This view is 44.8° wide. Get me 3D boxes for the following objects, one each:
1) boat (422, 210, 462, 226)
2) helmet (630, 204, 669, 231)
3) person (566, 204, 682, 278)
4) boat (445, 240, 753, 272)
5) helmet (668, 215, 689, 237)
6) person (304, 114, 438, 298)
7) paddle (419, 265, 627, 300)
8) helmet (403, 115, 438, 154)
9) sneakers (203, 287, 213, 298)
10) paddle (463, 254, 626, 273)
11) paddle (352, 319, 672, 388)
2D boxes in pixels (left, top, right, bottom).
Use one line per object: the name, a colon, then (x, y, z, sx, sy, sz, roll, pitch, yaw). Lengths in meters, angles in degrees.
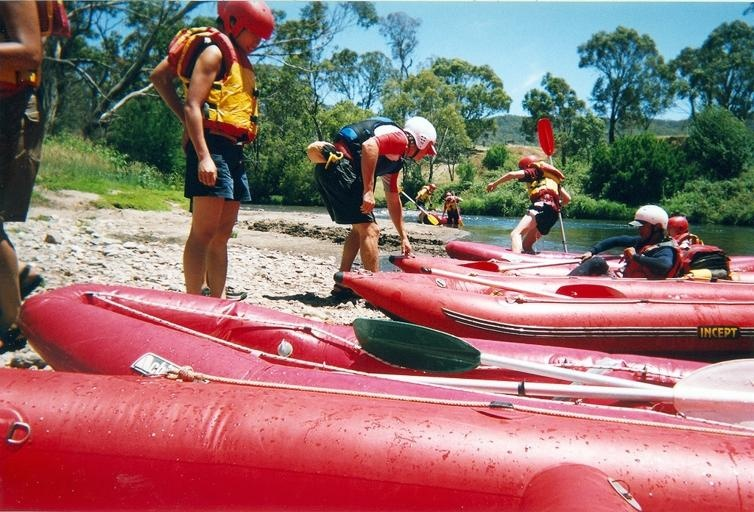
boat: (1.530, -0.875, 21.547, 1.012, 0.303, 0.544, 12, 7, -38)
helmet: (3.465, -0.492, 11.631, 0.449, 0.223, 0.318, 1, 1, 7)
person: (3.046, -0.058, 11.573, 1.539, 1.006, 0.916, -6, 17, -12)
boat: (2.498, 0.001, 12.965, 2.935, 0.370, 1.384, 0, -2, 15)
helmet: (4.041, -0.395, 12.400, 0.320, 0.298, 0.276, 8, -2, 24)
person: (-0.166, -0.561, 11.058, 1.099, 2.308, 1.161, 9, 6, 30)
paddle: (1.689, 0.327, 10.771, 1.338, 0.167, 0.095, 11, 25, 16)
helmet: (0.559, -1.469, 11.241, 0.476, 0.376, 0.363, 26, 20, -10)
sneakers: (-1.885, 0.410, 10.207, 0.116, 0.065, 0.170, 6, 3, -10)
paddle: (2.032, 0.126, 12.149, 1.491, 0.225, 0.697, 2, -3, 0)
paddle: (1.279, 0.975, 9.080, 2.589, 0.324, 0.268, 9, -7, 0)
